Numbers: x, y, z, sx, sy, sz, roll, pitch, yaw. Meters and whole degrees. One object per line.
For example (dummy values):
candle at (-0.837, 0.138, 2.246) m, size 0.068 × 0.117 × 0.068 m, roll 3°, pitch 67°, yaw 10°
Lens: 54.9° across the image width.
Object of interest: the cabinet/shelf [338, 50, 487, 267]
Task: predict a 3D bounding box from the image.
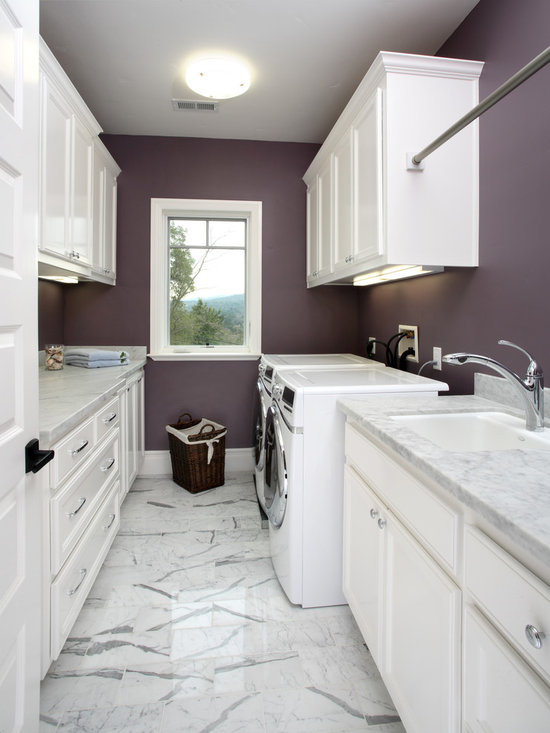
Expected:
cabinet/shelf at (0.574, -0.715, 2.451) m, size 0.481 × 1.152 × 1.063 m, roll 0°, pitch 5°, yaw -3°

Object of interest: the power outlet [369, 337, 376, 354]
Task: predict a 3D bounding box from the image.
power outlet at (0.576, -0.116, 3.109) m, size 0.040 × 0.096 × 0.143 m, roll 2°, pitch 6°, yaw 12°

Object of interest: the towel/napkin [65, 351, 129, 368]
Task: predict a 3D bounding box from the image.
towel/napkin at (-1.028, -0.050, 3.007) m, size 0.352 × 0.092 × 0.288 m, roll -1°, pitch 6°, yaw -18°

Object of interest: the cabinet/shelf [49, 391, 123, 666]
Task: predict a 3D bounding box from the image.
cabinet/shelf at (-0.633, 0.545, 1.745) m, size 0.202 × 0.444 × 0.642 m, roll -2°, pitch 14°, yaw -8°

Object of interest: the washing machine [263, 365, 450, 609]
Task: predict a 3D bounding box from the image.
washing machine at (0.290, 0.281, 2.287) m, size 0.629 × 1.016 × 0.941 m, roll 1°, pitch 6°, yaw -4°

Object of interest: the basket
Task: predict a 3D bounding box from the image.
basket at (-0.502, 0.546, 3.328) m, size 0.333 × 0.371 × 0.421 m, roll -2°, pitch 6°, yaw -26°

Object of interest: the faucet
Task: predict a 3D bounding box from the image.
faucet at (0.582, 0.067, 1.376) m, size 0.289 × 0.202 × 0.113 m, roll -2°, pitch 6°, yaw -26°

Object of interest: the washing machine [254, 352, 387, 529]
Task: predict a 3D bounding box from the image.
washing machine at (0.103, 0.309, 2.752) m, size 0.690 × 1.147 × 0.741 m, roll 1°, pitch 8°, yaw -4°
